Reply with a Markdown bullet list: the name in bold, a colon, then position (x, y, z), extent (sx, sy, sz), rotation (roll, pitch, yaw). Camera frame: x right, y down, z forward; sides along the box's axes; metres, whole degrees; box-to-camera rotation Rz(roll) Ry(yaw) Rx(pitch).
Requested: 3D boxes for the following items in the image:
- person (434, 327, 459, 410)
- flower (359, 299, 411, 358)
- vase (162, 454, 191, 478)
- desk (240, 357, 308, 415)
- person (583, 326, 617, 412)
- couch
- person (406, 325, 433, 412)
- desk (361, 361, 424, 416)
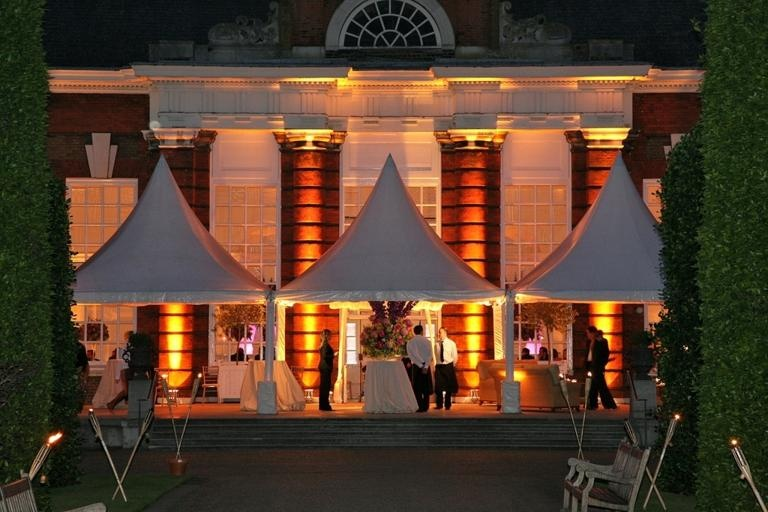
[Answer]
- **person**: position (1.336, 2.424, 35.783), extent (0.516, 0.406, 1.669), rotation (-4, 88, 11)
- **flower**: position (0.078, 1.567, 35.643), extent (0.927, 0.920, 1.223), rotation (0, 85, -5)
- **vase**: position (-3.721, 3.761, 29.882), extent (0.443, 0.416, 0.272), rotation (-1, 77, 1)
- **desk**: position (-2.325, 2.788, 35.563), extent (1.897, 0.986, 1.470), rotation (0, 81, -9)
- **person**: position (4.667, 2.449, 36.261), extent (0.802, 0.634, 1.970), rotation (-11, 90, 29)
- **couch**: position (3.445, 2.794, 35.928), extent (1.787, 2.167, 1.065), rotation (2, 86, -13)
- **person**: position (0.778, 2.387, 35.309), extent (0.550, 0.593, 1.699), rotation (-2, 90, 11)
- **desk**: position (0.076, 2.745, 34.809), extent (1.082, 0.695, 1.012), rotation (-6, 45, -2)
